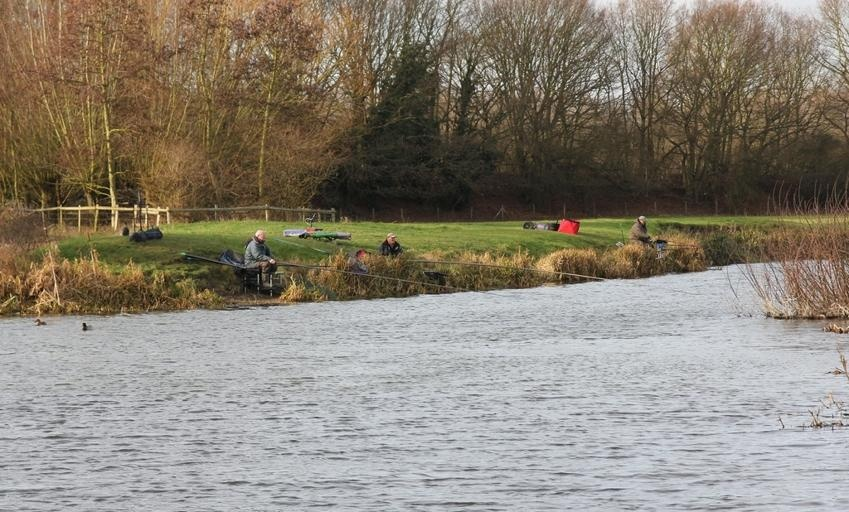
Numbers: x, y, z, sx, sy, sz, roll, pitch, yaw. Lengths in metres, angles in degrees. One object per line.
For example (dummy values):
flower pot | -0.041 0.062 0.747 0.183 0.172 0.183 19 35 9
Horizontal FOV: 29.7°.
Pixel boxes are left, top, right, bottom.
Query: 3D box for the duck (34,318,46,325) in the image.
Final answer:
duck | -18.550 3.120 76.982 0.300 0.359 0.564 2 -1 14

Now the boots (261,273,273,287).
boots | -8.040 1.179 81.459 0.682 0.812 0.659 1 2 10

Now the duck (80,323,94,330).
duck | -16.101 3.280 76.237 0.585 0.315 0.949 0 2 -14
